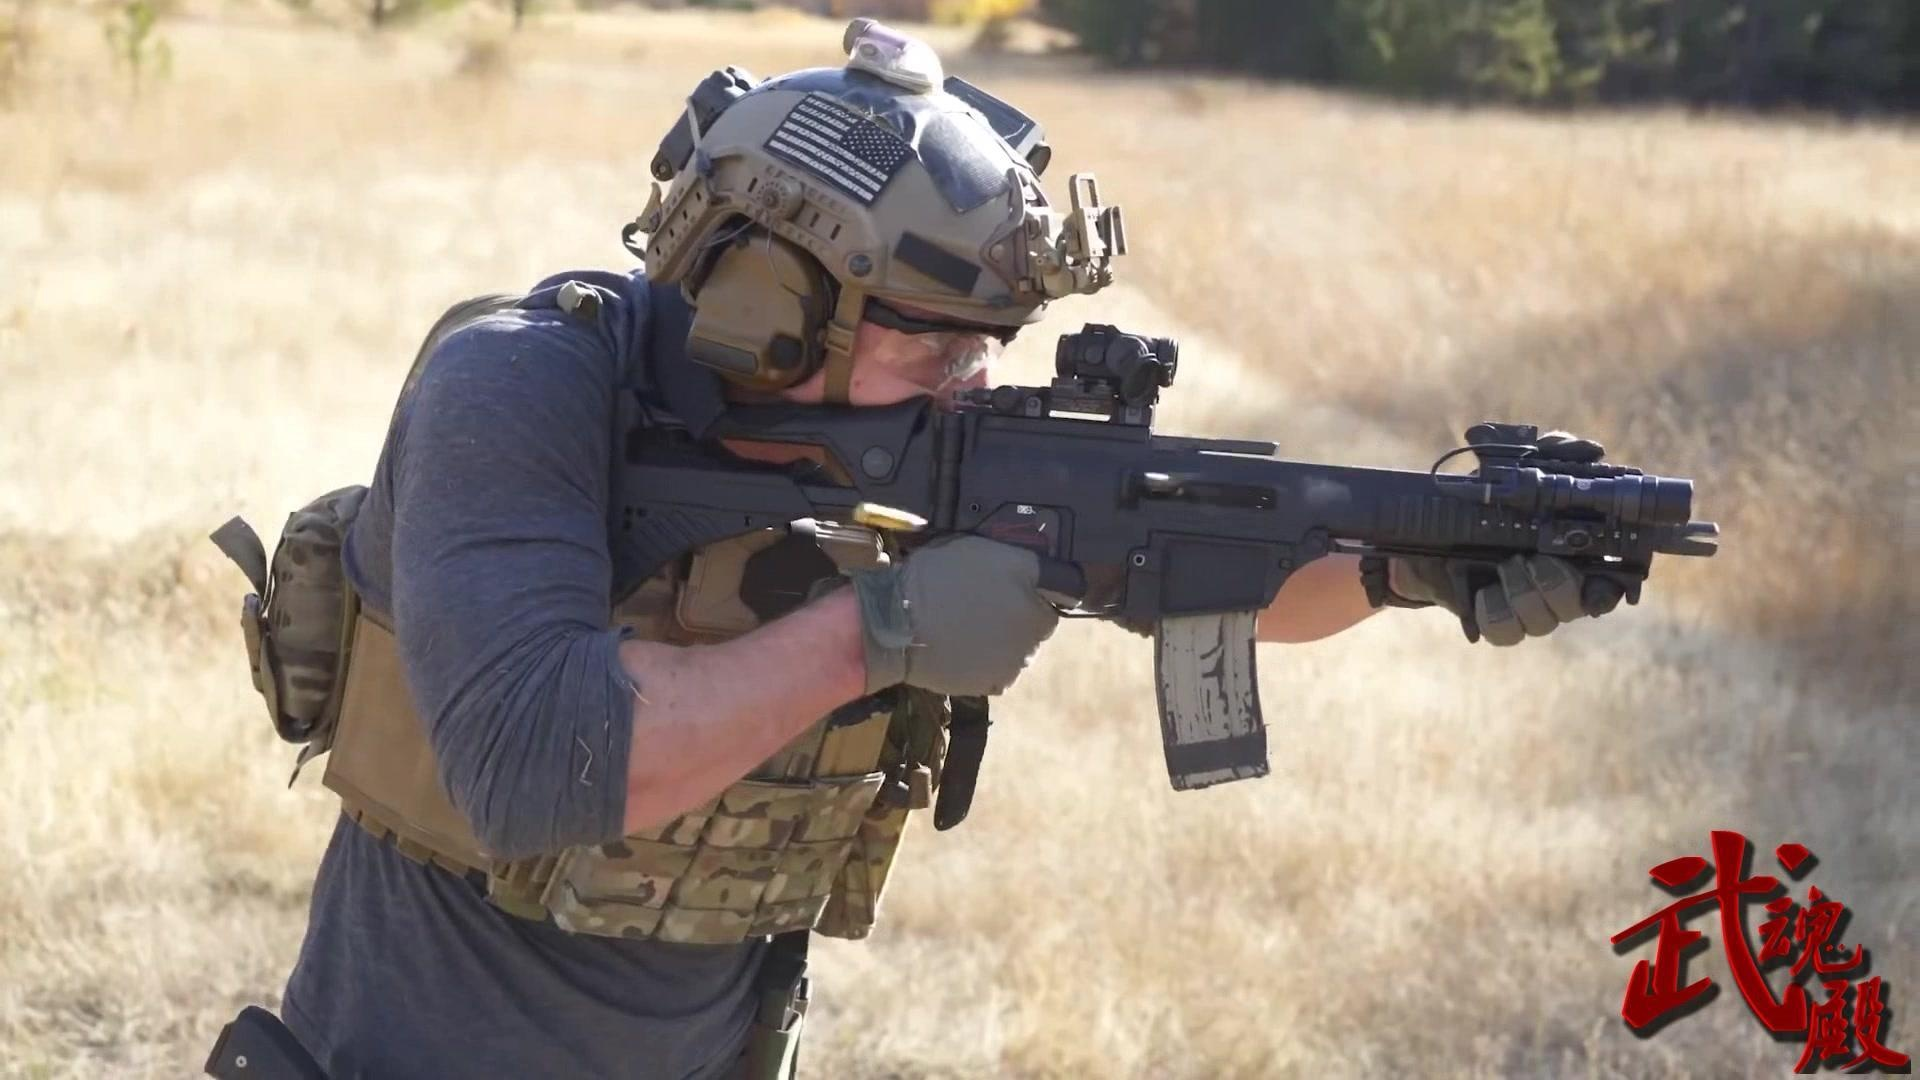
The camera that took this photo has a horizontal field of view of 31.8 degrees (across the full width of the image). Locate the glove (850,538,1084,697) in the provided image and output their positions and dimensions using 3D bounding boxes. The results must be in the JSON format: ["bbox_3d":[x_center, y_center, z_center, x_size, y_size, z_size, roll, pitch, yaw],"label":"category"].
[{"bbox_3d":[-0.035,0.312,11.852,0.729,0.617,0.307,9,23,-2],"label":"glove"}]

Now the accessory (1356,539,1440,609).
[{"bbox_3d":[1.575,0.151,12.222,0.274,0.186,0.109,11,25,21],"label":"accessory"}]

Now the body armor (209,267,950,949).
[{"bbox_3d":[-1.294,0.063,12.588,2.761,2.152,1.918,13,27,18],"label":"body armor"}]
